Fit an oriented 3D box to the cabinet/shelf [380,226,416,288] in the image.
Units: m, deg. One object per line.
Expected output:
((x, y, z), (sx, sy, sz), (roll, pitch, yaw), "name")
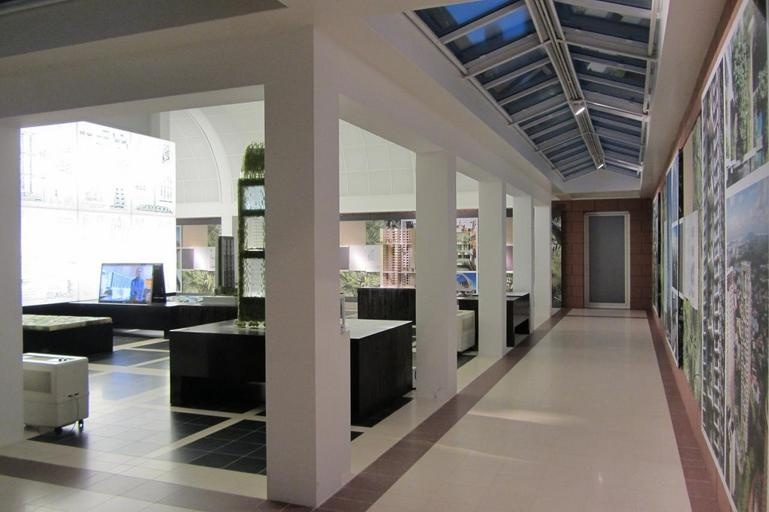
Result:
((0.397, 0.055, 15.896), (1.009, 1.714, 0.522), (0, 3, 10), "cabinet/shelf")

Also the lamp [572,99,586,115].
((3.053, -2.336, 8.149), (0.055, 0.220, 0.227), (-1, 8, -23), "lamp")

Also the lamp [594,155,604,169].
((5.711, -2.507, 13.824), (0.182, 0.239, 0.195), (1, 21, 8), "lamp")
